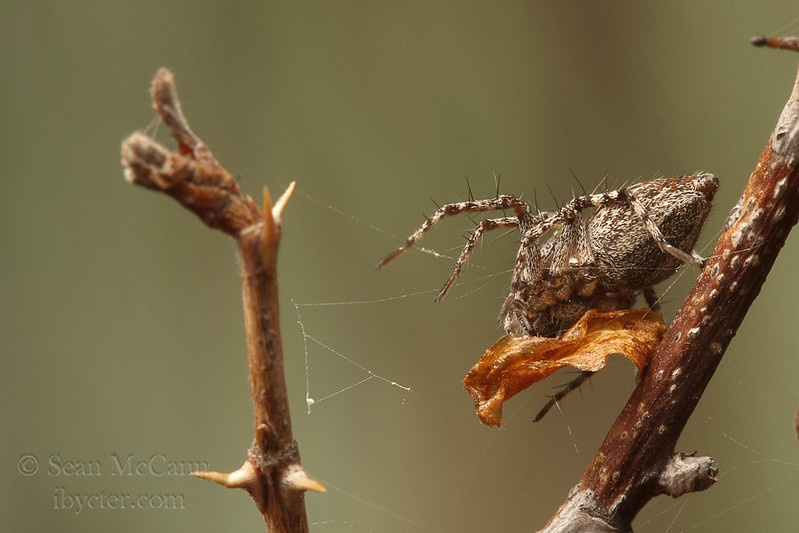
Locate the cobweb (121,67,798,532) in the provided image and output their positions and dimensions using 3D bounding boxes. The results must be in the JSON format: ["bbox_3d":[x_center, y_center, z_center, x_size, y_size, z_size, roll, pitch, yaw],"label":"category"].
[{"bbox_3d":[0.173,0.089,2.188,1.423,0.918,0.910,-10,-53,-16],"label":"cobweb"}]
